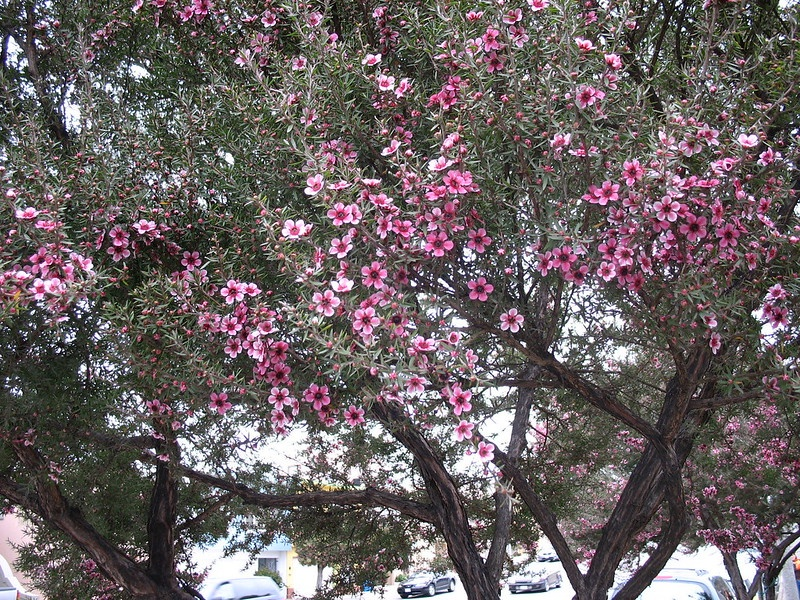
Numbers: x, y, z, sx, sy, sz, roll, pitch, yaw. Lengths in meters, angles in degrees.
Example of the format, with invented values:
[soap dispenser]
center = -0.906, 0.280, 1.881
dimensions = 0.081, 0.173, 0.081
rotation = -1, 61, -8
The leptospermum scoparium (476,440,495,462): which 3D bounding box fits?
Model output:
[leptospermum scoparium]
center = 0.521, 0.915, 4.871
dimensions = 0.111, 0.138, 0.062
rotation = 14, 3, 10
